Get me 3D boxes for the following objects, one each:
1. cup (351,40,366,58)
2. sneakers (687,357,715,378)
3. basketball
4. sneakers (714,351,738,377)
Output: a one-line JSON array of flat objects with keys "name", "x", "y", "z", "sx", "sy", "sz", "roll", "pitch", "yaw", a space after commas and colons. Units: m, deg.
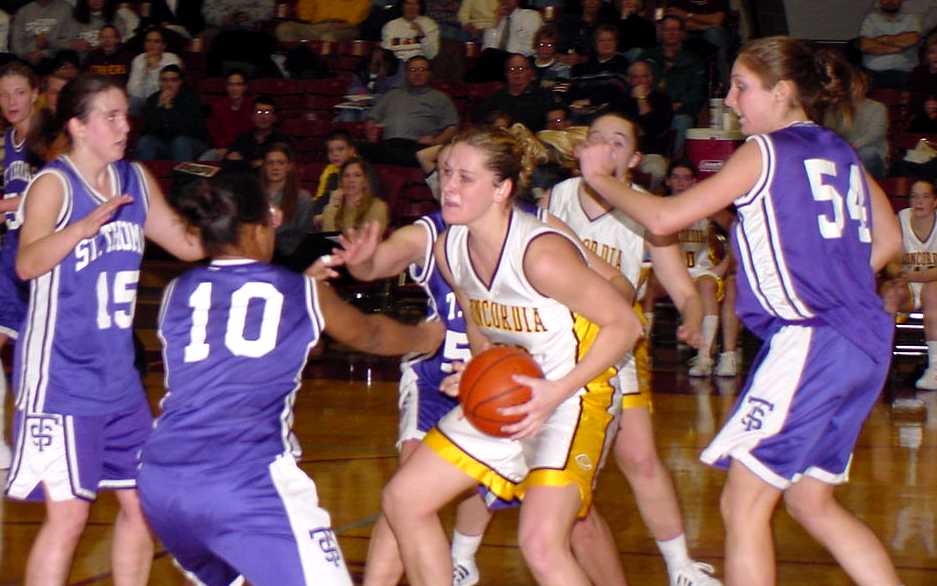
[{"name": "cup", "x": -1.334, "y": -3.000, "z": 11.032, "sx": 0.226, "sy": 0.195, "sz": 0.216, "roll": 2, "pitch": -8, "yaw": 0}, {"name": "sneakers", "x": 2.115, "y": 0.680, "z": 8.021, "sx": 0.199, "sy": 0.131, "sz": 0.369, "roll": -1, "pitch": -3, "yaw": 19}, {"name": "basketball", "x": 0.121, "y": 0.394, "z": 3.477, "sx": 0.324, "sy": 0.347, "sz": 0.152, "roll": 0, "pitch": 1, "yaw": 4}, {"name": "sneakers", "x": 2.322, "y": 0.650, "z": 7.958, "sx": 0.229, "sy": 0.216, "sz": 0.608, "roll": -1, "pitch": -4, "yaw": 14}]
